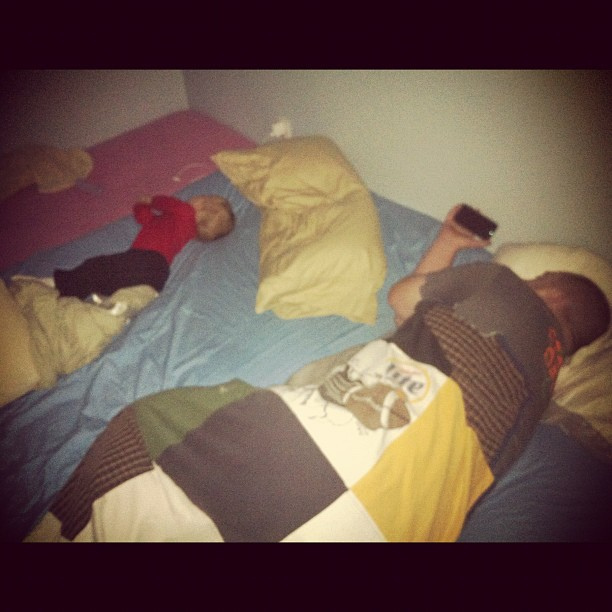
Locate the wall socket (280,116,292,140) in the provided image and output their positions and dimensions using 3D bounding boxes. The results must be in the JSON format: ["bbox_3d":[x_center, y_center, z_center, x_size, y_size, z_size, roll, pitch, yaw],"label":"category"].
[{"bbox_3d":[-0.135,-1.253,3.944,0.104,0.103,0.033,-1,22,1],"label":"wall socket"}]

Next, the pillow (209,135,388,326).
[{"bbox_3d":[-0.205,-0.791,4.217,0.424,1.232,1.050,13,43,23],"label":"pillow"}]

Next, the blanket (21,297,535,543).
[{"bbox_3d":[0.057,1.276,4.679,1.710,2.818,0.767,46,-4,11],"label":"blanket"}]
